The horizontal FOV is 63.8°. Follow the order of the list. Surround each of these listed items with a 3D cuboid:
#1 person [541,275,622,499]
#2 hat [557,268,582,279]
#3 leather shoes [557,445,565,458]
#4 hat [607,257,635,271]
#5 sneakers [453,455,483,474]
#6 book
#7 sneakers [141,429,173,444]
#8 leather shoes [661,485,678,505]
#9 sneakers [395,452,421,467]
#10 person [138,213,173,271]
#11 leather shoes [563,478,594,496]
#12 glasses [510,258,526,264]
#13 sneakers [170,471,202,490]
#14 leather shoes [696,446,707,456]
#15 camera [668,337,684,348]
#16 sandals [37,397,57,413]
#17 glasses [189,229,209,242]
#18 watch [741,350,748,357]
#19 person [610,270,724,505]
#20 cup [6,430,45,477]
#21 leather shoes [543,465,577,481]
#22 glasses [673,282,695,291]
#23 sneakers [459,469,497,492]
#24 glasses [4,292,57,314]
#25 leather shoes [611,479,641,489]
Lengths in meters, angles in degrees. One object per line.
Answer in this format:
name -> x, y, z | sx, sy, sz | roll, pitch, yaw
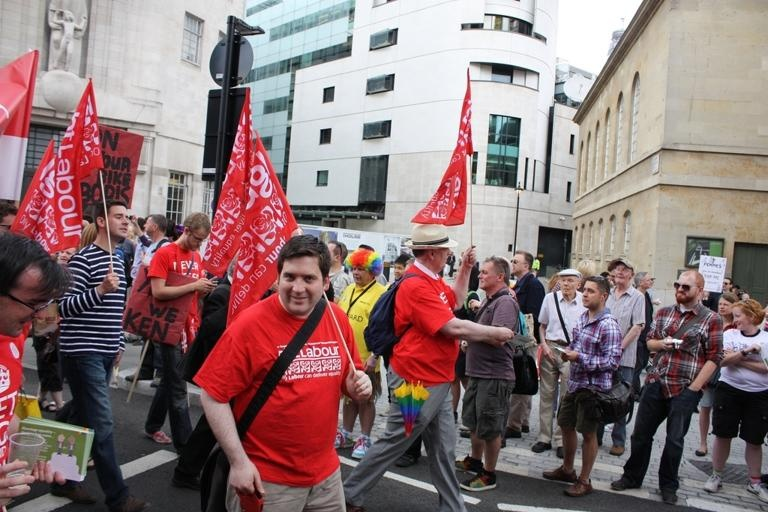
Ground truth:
person -> 2.844, 1.777, 8.671 | 0.767, 2.934, 0.803 | 1, 9, -19
hat -> 3.414, 0.309, 11.289 | 0.464, 0.181, 0.545 | 2, 1, 9
leather shoes -> 2.752, 3.016, 9.566 | 0.138, 0.125, 0.407 | -2, -5, 10
hat -> 4.822, 0.146, 12.449 | 0.378, 0.193, 0.260 | 36, -28, -28
sneakers -> 1.218, 2.958, 8.783 | 0.497, 0.240, 0.186 | 0, 3, 43
book -> -3.106, 1.844, 5.975 | 0.626, 0.665, 0.154 | 8, 29, -11
sneakers -> -3.295, 2.607, 8.968 | 0.411, 0.176, 0.170 | 7, 1, 7
leather shoes -> 3.921, 3.266, 8.437 | 0.125, 0.125, 0.281 | -2, -11, 7
sneakers -> 0.348, 2.931, 8.952 | 0.278, 0.285, 0.175 | 14, -16, -25
person -> -4.325, -0.266, 11.638 | 0.545, 1.034, 0.981 | 5, 10, -34
leather shoes -> 2.693, 3.170, 8.519 | 0.418, 0.188, 0.171 | 7, -14, -33
glasses -> 2.363, 0.085, 10.988 | 0.151, 0.074, 0.126 | 18, -5, -2
sneakers -> -2.517, 2.836, 7.942 | 0.463, 0.244, 0.175 | 0, 17, -13
leather shoes -> 5.189, 3.163, 10.057 | 0.094, 0.101, 0.253 | 0, -3, 8
camera -> 4.097, 1.199, 8.613 | 0.150, 0.053, 0.112 | -15, -43, 14
sandals -> -5.327, 2.318, 9.676 | 0.471, 0.194, 0.167 | 0, -1, 31
glasses -> -2.638, -0.288, 8.786 | 0.166, 0.126, 0.211 | 2, -5, -26
watch -> 5.274, 1.407, 9.004 | 0.069, 0.054, 0.070 | -10, 19, -19
person -> 4.081, 1.768, 8.689 | 1.261, 3.072, 0.923 | 1, 9, -23
cup -> -3.058, 1.681, 5.317 | 0.298, 0.310, 0.292 | 22, -3, 1
leather shoes -> 2.516, 3.093, 8.899 | 0.522, 0.241, 0.198 | 3, -2, 13
glasses -> 4.301, 0.420, 8.796 | 0.204, 0.075, 0.218 | 5, -9, 46
sneakers -> 1.334, 3.061, 8.520 | 0.593, 0.273, 0.219 | 2, -3, -15
glasses -> -3.074, 0.430, 5.273 | 0.207, 0.067, 0.209 | 23, 2, 11
leather shoes -> 3.393, 3.185, 8.713 | 0.443, 0.193, 0.167 | 3, -5, -4
